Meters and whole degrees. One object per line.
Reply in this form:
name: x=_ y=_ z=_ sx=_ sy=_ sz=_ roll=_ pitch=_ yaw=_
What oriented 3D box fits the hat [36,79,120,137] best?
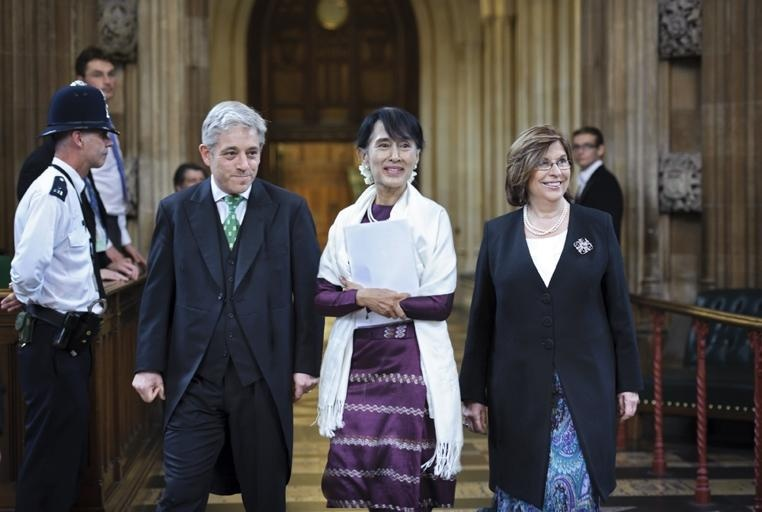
hat: x=-2.080 y=-1.002 z=8.915 sx=0.405 sy=0.268 sz=0.389 roll=3 pitch=4 yaw=22

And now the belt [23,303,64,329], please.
belt: x=-2.292 y=0.412 z=8.768 sx=0.189 sy=0.067 sz=0.178 roll=24 pitch=-1 yaw=-8
